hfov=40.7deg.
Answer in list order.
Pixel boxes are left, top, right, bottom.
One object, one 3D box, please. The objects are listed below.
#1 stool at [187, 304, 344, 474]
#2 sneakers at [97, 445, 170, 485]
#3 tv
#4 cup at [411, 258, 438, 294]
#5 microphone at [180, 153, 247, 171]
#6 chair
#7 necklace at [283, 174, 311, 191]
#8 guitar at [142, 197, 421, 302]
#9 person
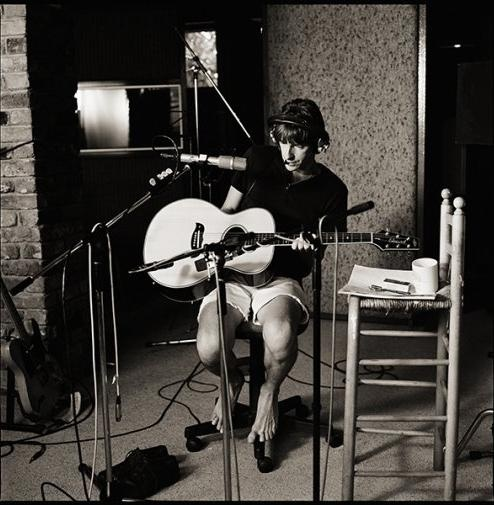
[{"bbox_3d":[0.040,0.517,2.482,0.495,0.659,0.559,1,-4,-6],"label":"stool"},{"bbox_3d":[-0.343,0.727,2.212,0.163,0.071,0.122,-7,11,-37],"label":"sneakers"},{"bbox_3d":[-0.849,-0.972,4.835,0.754,0.504,0.148,-1,9,-6],"label":"tv"},{"bbox_3d":[0.549,0.079,2.086,0.064,0.111,0.114,-3,17,10],"label":"cup"},{"bbox_3d":[-0.117,-0.290,2.172,0.203,0.055,0.167,-2,11,-11],"label":"microphone"},{"bbox_3d":[0.524,0.275,2.260,0.417,0.988,0.896,3,10,19],"label":"chair"},{"bbox_3d":[0.181,-0.266,2.410,0.086,0.051,0.014,-6,-3,19],"label":"necklace"},{"bbox_3d":[0.090,-0.046,2.281,0.937,0.461,0.146,0,-8,7],"label":"guitar"},{"bbox_3d":[0.094,0.084,2.380,0.502,1.239,0.727,3,10,16],"label":"person"}]
